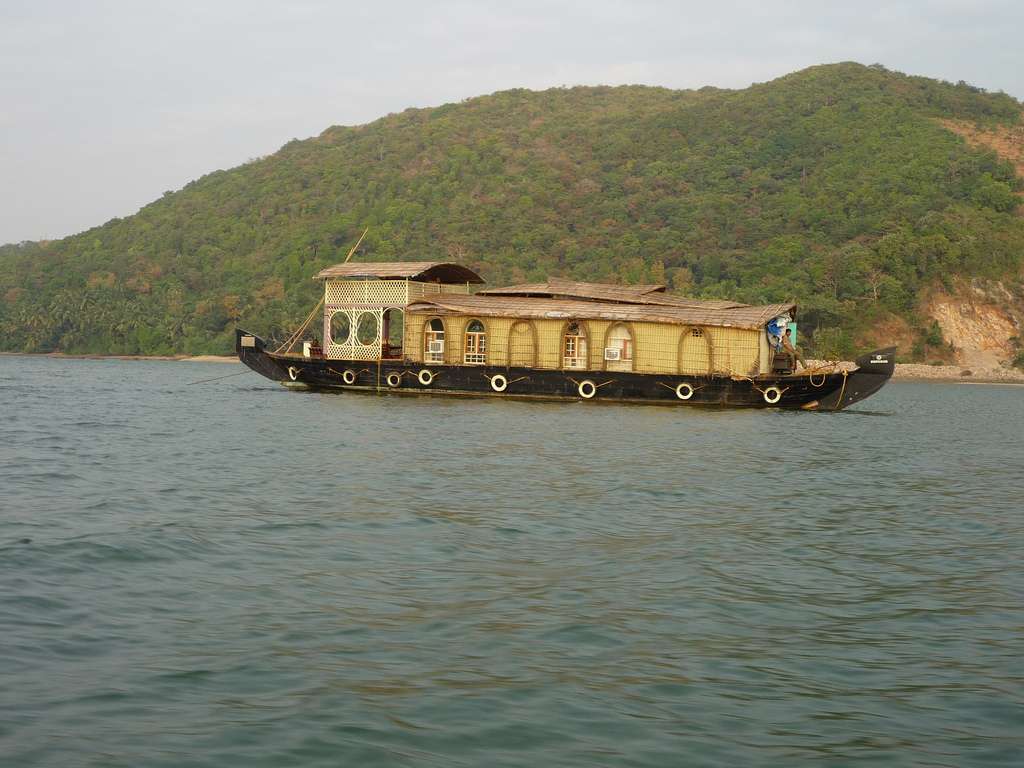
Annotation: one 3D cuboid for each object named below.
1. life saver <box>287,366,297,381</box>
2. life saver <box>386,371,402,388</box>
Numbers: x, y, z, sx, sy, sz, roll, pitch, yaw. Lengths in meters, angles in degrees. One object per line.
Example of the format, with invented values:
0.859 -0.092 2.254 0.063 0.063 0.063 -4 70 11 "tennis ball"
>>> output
-8.532 -0.403 50.186 0.202 0.436 0.436 -23 -31 -18 "life saver"
-4.384 -0.119 47.735 0.716 0.532 0.166 25 8 17 "life saver"
